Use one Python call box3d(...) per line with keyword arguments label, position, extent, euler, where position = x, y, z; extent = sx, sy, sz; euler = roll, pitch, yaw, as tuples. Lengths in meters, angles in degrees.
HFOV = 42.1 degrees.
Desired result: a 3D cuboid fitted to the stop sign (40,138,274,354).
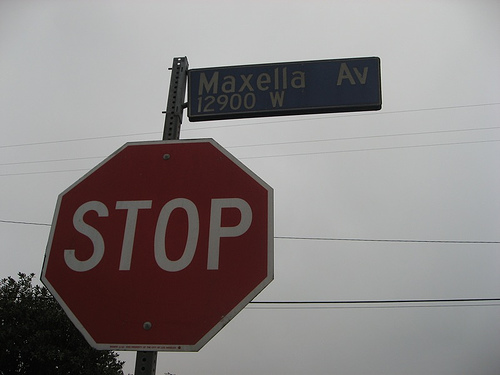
box3d(label="stop sign", position=(-0.627, 0.429, 4.514), extent=(1.203, 1.333, 0.091), euler=(1, -12, -1))
